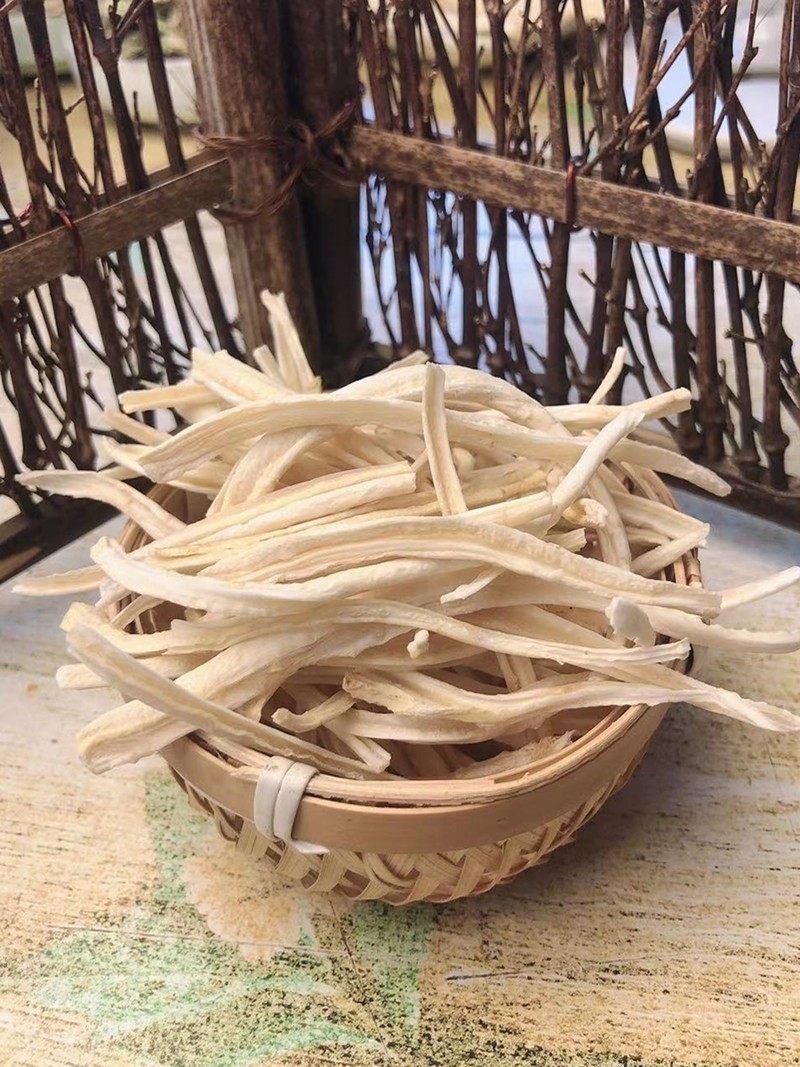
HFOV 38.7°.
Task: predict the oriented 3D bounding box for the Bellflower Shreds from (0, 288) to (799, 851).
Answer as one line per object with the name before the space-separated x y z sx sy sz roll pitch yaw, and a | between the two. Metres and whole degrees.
Bellflower Shreds | -0.010 0.076 0.953 0.526 0.174 0.462 25 54 28

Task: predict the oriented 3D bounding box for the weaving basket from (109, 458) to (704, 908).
weaving basket | -0.007 0.123 0.813 0.366 0.137 0.300 10 48 10
